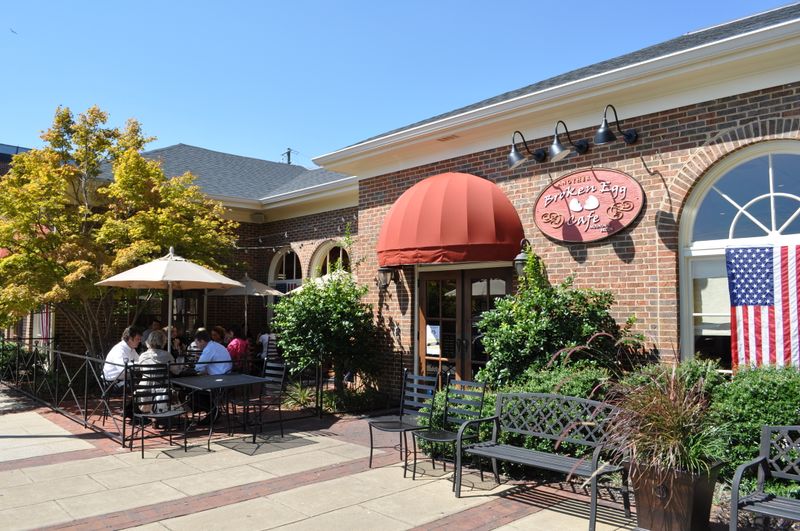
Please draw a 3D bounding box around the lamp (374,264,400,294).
[{"bbox_3d":[-0.498,0.332,16.687,0.680,0.801,0.642,6,-5,-31],"label":"lamp"}]

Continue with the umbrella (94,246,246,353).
[{"bbox_3d":[-5.190,0.633,14.985,3.098,2.022,2.769,0,-6,-9],"label":"umbrella"}]

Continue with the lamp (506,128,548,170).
[{"bbox_3d":[2.650,-2.494,14.240,0.903,0.626,0.402,-3,18,-16],"label":"lamp"}]

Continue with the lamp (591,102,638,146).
[{"bbox_3d":[4.228,-2.819,13.118,0.803,0.834,0.710,5,9,35],"label":"lamp"}]

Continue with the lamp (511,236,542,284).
[{"bbox_3d":[2.565,-0.138,13.812,0.931,1.043,0.648,3,-2,-1],"label":"lamp"}]

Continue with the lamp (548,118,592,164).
[{"bbox_3d":[3.388,-2.584,13.641,0.874,0.625,0.438,-2,11,-21],"label":"lamp"}]

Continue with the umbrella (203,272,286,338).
[{"bbox_3d":[-4.892,1.242,21.163,2.259,1.544,2.013,0,-4,-6],"label":"umbrella"}]
